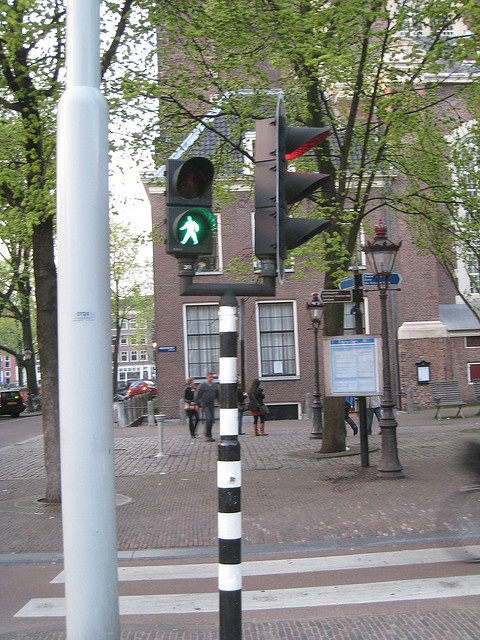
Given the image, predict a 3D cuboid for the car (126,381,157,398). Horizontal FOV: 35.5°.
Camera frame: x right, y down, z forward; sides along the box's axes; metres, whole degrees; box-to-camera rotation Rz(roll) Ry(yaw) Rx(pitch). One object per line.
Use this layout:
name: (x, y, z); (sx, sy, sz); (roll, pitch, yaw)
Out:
car: (-5.880, 4.029, 44.791); (1.571, 0.964, 3.148); (-1, 3, 11)

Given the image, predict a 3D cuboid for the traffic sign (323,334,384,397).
traffic sign: (1.851, 0.730, 12.236); (1.235, 1.081, 0.171); (-1, -8, 10)

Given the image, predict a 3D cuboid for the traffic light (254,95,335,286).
traffic light: (0.304, -0.839, 4.621); (0.497, 0.798, 0.382); (-3, -2, -19)

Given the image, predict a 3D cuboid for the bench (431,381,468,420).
bench: (5.991, 2.257, 21.080); (1.270, 1.201, 1.018); (0, -3, -8)
